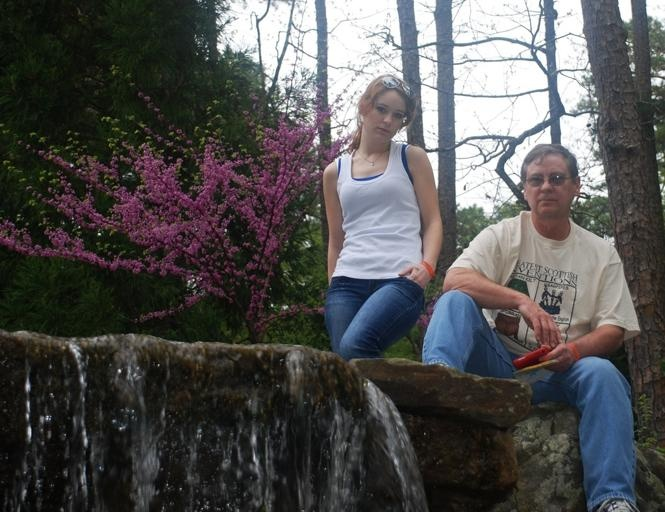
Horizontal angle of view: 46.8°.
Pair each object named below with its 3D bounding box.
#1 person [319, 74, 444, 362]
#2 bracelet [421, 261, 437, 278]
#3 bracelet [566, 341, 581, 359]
[{"bbox_3d":[0.343,-0.333,5.824,0.940,2.199,0.798,-1,-5,10],"label":"person"},{"bbox_3d":[0.704,0.088,5.651,0.028,0.113,0.105,-31,-61,26],"label":"bracelet"},{"bbox_3d":[1.733,0.680,5.530,0.084,0.123,0.094,-22,-1,1],"label":"bracelet"}]
